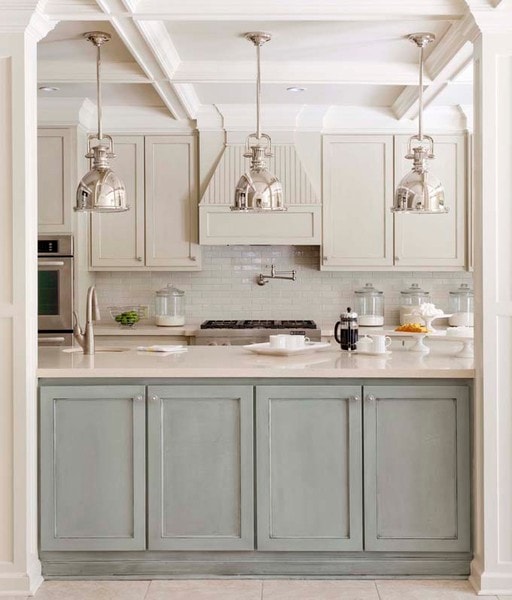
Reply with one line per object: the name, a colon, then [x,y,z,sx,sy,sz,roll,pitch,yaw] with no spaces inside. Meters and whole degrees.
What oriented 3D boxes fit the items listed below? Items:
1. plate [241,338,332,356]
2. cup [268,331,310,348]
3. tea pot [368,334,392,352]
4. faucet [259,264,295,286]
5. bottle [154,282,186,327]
plate: [0.163,0.230,3.735,0.265,0.102,0.369,-1,0,42]
cup: [0.193,0.204,3.702,0.101,0.058,0.168,-5,-7,42]
tea pot: [0.640,0.216,3.656,0.148,0.118,0.090,3,-6,-38]
faucet: [0.168,-0.208,5.938,0.303,0.152,0.153,1,4,8]
bottle: [-0.689,0.039,5.728,0.351,0.432,0.310,0,-4,-4]
